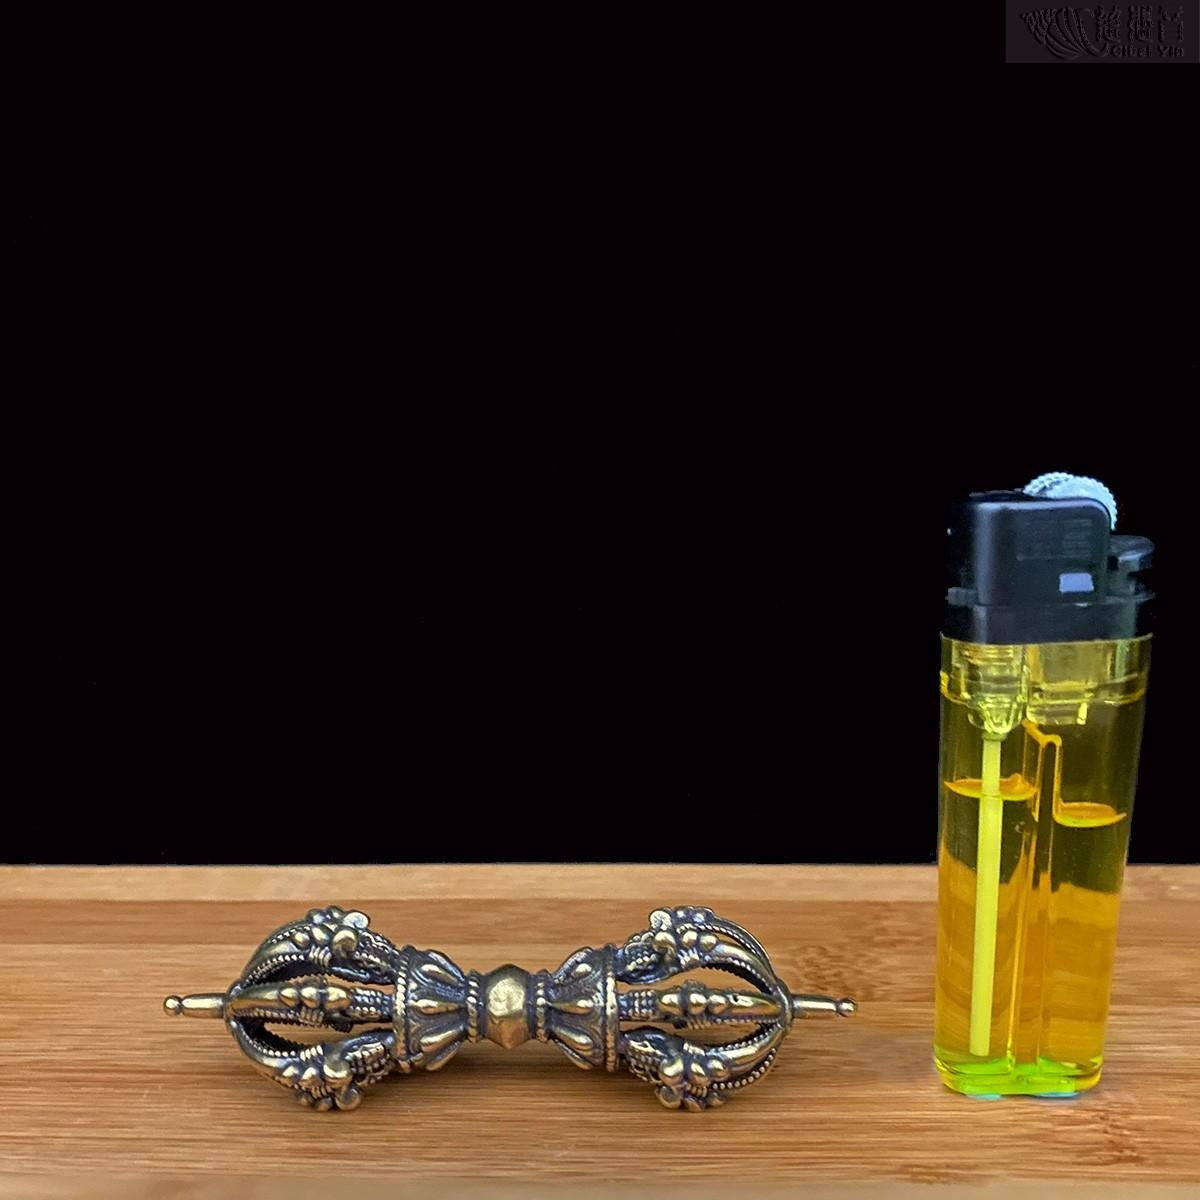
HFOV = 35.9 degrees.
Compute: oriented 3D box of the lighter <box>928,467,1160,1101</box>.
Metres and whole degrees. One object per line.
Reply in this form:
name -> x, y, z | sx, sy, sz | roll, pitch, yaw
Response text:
lighter -> 0.214, 0.100, 0.897 | 0.094, 0.303, 0.051 | 3, 10, 14
